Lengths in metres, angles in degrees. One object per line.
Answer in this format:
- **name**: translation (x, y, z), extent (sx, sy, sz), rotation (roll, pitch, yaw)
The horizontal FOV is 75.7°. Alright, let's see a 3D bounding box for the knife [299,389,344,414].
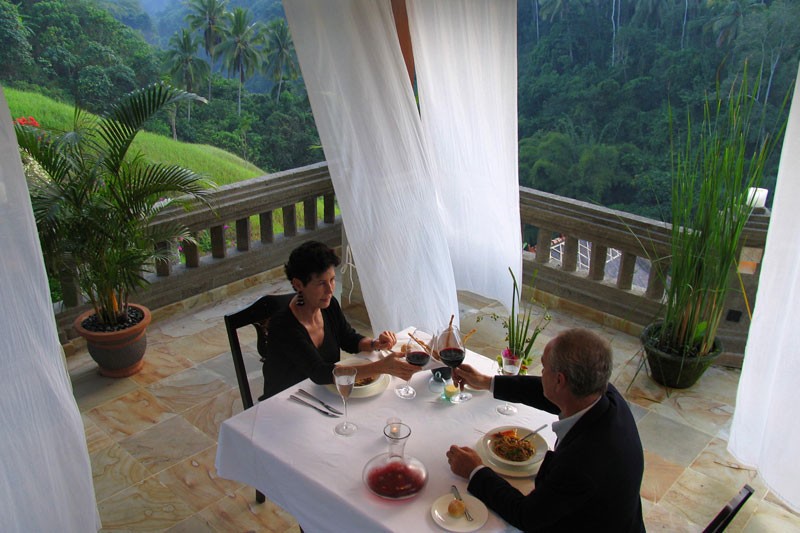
- **knife**: translation (-0.339, 0.598, 2.210), extent (0.180, 0.021, 0.032), rotation (33, 39, 20)

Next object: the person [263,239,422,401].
- **person**: translation (-0.269, 0.296, 2.744), extent (0.728, 1.101, 0.369), rotation (6, 31, 25)

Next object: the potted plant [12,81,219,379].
- **potted plant**: translation (-1.966, -0.255, 3.664), extent (1.036, 1.958, 1.020), rotation (-17, 23, -33)

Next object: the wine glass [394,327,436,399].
- **wine glass**: translation (0.068, 0.468, 2.354), extent (0.143, 0.351, 0.141), rotation (-13, 33, -19)
